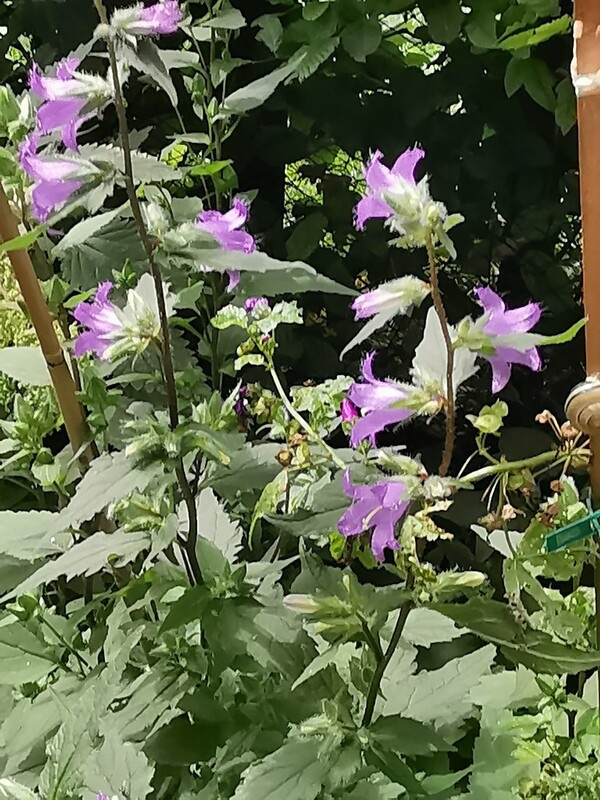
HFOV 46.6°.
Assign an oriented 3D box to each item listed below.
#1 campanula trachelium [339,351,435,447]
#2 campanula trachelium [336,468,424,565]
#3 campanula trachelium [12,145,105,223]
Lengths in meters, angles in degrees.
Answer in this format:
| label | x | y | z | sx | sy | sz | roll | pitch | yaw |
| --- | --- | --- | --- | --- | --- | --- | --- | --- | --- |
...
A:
| label | x | y | z | sx | sy | sz | roll | pitch | yaw |
| --- | --- | --- | --- | --- | --- | --- | --- | --- | --- |
| campanula trachelium | 0.055 | -0.001 | 0.470 | 0.050 | 0.060 | 0.052 | -13 | 10 | 8 |
| campanula trachelium | 0.053 | 0.070 | 0.467 | 0.024 | 0.053 | 0.054 | -27 | 0 | -30 |
| campanula trachelium | -0.185 | -0.150 | 0.506 | 0.024 | 0.054 | 0.056 | 17 | -25 | -37 |
